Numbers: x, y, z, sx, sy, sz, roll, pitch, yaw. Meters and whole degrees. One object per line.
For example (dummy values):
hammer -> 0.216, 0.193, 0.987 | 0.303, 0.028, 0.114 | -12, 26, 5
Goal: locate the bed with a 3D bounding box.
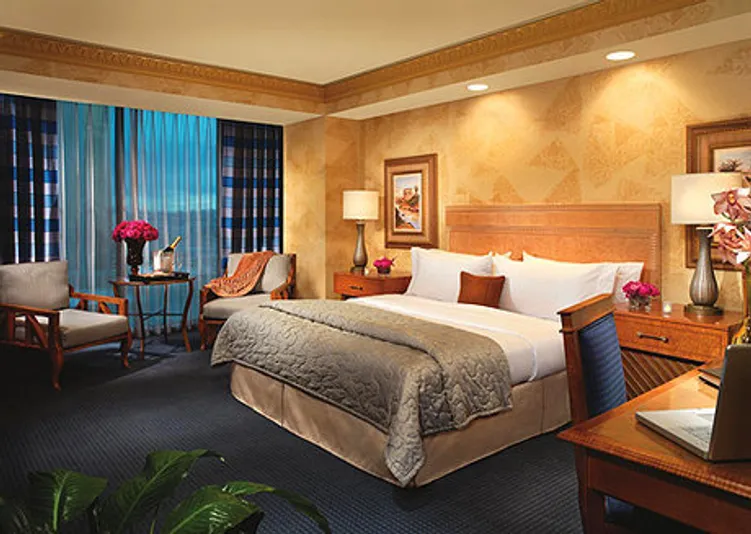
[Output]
bed -> 0.513, 0.613, 4.305 | 2.978, 1.631, 3.124 | 6, -7, 41

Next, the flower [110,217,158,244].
flower -> -2.709, -0.391, 5.268 | 0.367, 0.209, 0.359 | 3, -1, -30

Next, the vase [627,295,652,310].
vase -> 2.043, 0.277, 3.614 | 0.118, 0.076, 0.112 | 0, -3, 1

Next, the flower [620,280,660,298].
flower -> 2.044, 0.177, 3.635 | 0.177, 0.116, 0.169 | 1, 2, -4

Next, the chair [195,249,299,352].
chair -> -1.615, 0.388, 5.940 | 0.973, 1.035, 0.803 | 2, 10, 8

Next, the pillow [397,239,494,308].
pillow -> 0.749, 0.082, 4.870 | 0.205, 0.451, 0.769 | 21, -12, -32

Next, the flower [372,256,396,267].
flower -> 0.096, -0.055, 5.699 | 0.180, 0.093, 0.159 | -1, 0, -17

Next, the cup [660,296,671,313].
cup -> 2.332, 0.306, 3.783 | 0.100, 0.106, 0.099 | -1, 7, 0
